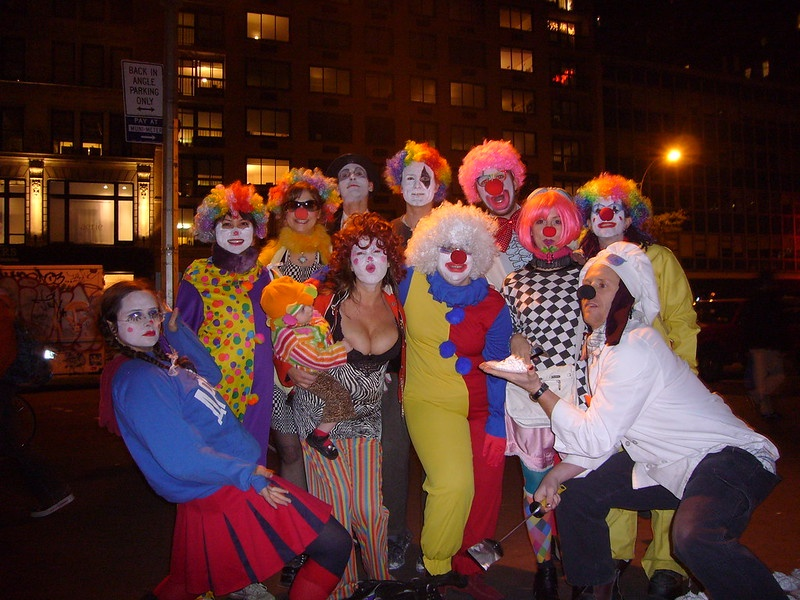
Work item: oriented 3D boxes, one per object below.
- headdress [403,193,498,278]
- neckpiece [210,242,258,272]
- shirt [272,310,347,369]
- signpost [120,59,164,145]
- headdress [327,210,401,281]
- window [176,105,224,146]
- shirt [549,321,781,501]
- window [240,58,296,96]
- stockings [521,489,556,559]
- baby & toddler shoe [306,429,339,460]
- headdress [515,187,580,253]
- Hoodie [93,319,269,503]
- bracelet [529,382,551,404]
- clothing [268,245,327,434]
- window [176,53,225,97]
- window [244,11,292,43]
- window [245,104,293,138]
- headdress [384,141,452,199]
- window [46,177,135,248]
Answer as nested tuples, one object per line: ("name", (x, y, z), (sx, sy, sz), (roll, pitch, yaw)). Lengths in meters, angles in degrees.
("headdress", (0.476, -0.568, 6.000), (0.617, 0.504, 0.707), (-1, 6, -13))
("neckpiece", (-1.478, -0.379, 6.141), (0.238, 0.170, 0.314), (2, 3, 17))
("shirt", (-0.734, 0.368, 5.623), (0.396, 0.213, 0.545), (-30, 48, -17))
("signpost", (-3.627, -2.814, 9.836), (0.534, 1.104, 0.283), (-3, 7, -22))
("headdress", (-0.291, -0.430, 5.993), (0.544, 0.630, 0.312), (4, 0, 17))
("window", (-7.708, -6.759, 26.986), (1.689, 1.399, 0.410), (-5, 8, -29))
("shirt", (1.972, 0.826, 5.551), (1.702, 1.499, 1.110), (7, 11, 37))
("window", (-5.394, -8.958, 27.797), (1.526, 1.037, 0.111), (2, -7, -23))
("stockings", (1.164, 1.951, 5.859), (0.176, 0.699, 0.192), (-6, -9, 44))
("baby & toddler shoe", (-0.629, 1.171, 5.681), (0.178, 0.268, 0.110), (-51, 9, -32))
("headdress", (1.286, -0.680, 6.261), (0.504, 0.674, 0.573), (-2, -3, 7))
("Hoodie", (-1.806, 0.930, 5.554), (0.971, 1.690, 1.349), (-21, 12, -13))
("bracelet", (1.076, 0.699, 5.319), (0.150, 0.147, 0.098), (-27, 58, -30))
("clothing", (-1.066, 0.397, 6.425), (0.413, 1.328, 1.258), (-1, 2, -18))
("window", (-7.780, -8.839, 27.293), (1.748, 1.464, 0.653), (-3, 7, -15))
("window", (-5.403, -11.028, 27.904), (1.344, 0.860, 0.048), (-4, 7, -19))
("window", (-5.326, -7.163, 27.630), (1.337, 0.990, 0.097), (0, -3, -16))
("headdress", (0.184, -1.462, 7.430), (0.604, 0.709, 0.359), (2, 13, 12))
("window", (-10.209, -2.894, 22.581), (2.185, 1.962, 0.084), (-1, 2, -19))
